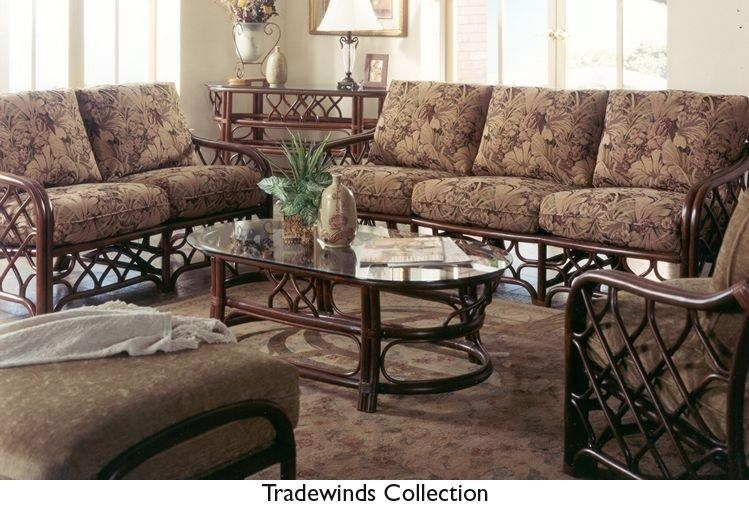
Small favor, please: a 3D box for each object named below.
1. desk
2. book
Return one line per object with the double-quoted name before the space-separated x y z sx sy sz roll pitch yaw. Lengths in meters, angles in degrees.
"desk" -0.665 -1.008 4.916 1.541 0.734 0.513 2 11 10
"book" 0.154 -0.017 2.529 0.459 0.048 0.409 -1 15 -6
